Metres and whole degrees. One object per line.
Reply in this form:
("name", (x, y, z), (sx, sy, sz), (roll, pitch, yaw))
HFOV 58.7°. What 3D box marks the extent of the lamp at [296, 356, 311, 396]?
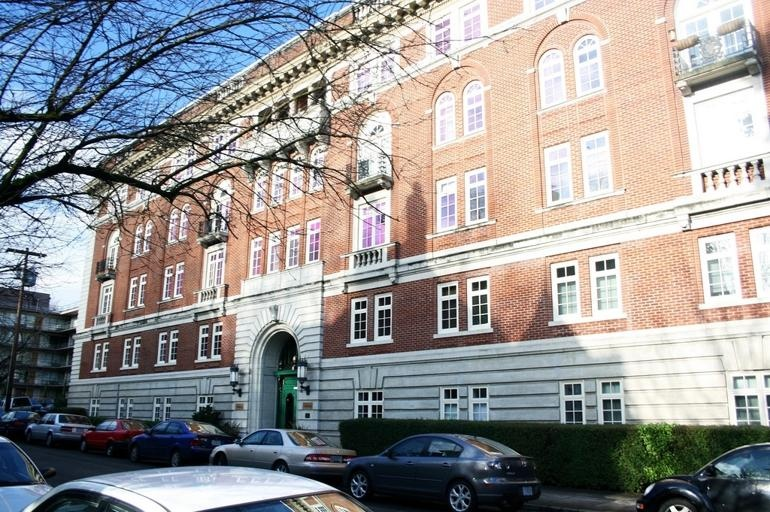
("lamp", (-3.952, 5.890, 33.734), (0.635, 1.765, 0.838), (1, -21, -7))
